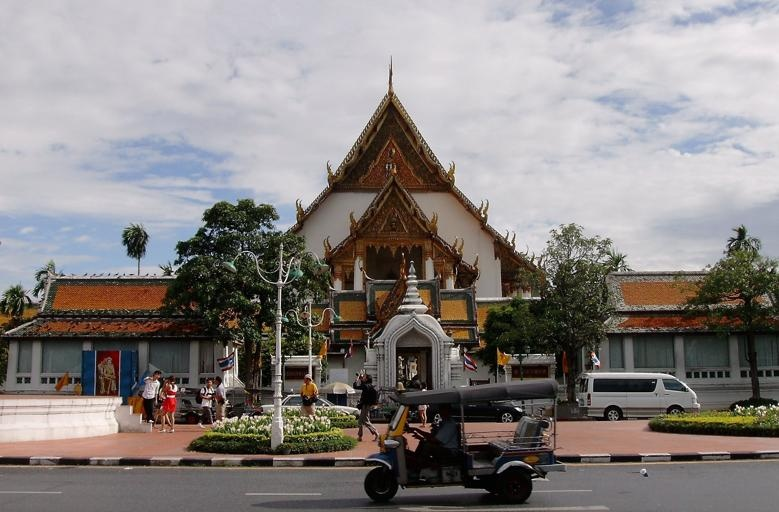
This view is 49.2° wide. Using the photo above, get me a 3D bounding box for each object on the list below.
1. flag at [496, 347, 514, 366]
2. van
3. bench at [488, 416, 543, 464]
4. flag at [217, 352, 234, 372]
[{"bbox_3d":[5.731,4.998,42.466,1.239,1.220,0.099,1,-2,-7],"label":"flag"},{"bbox_3d":[10.933,6.287,38.244,4.493,1.767,2.182,-2,-6,3],"label":"van"},{"bbox_3d":[3.242,4.661,21.484,1.405,1.225,1.608,-4,-5,-3],"label":"bench"},{"bbox_3d":[-8.152,5.160,42.038,0.124,1.009,1.434,16,-21,-40],"label":"flag"}]
